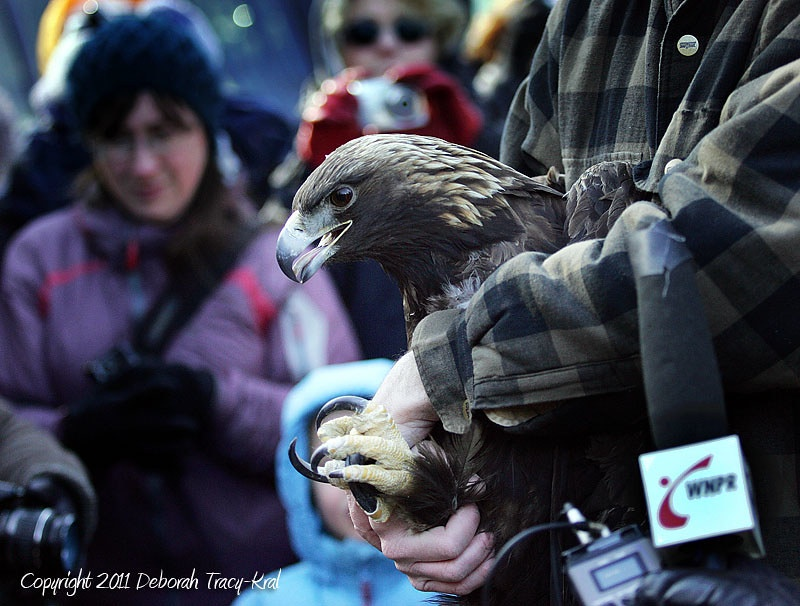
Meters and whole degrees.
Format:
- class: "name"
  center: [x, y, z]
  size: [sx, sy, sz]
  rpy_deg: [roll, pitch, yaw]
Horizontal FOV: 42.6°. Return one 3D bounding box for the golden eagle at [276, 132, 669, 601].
- class: "golden eagle"
  center: [0.071, 0.220, 2.710]
  size: [0.881, 0.748, 1.528]
  rpy_deg: [-4, 75, -8]
